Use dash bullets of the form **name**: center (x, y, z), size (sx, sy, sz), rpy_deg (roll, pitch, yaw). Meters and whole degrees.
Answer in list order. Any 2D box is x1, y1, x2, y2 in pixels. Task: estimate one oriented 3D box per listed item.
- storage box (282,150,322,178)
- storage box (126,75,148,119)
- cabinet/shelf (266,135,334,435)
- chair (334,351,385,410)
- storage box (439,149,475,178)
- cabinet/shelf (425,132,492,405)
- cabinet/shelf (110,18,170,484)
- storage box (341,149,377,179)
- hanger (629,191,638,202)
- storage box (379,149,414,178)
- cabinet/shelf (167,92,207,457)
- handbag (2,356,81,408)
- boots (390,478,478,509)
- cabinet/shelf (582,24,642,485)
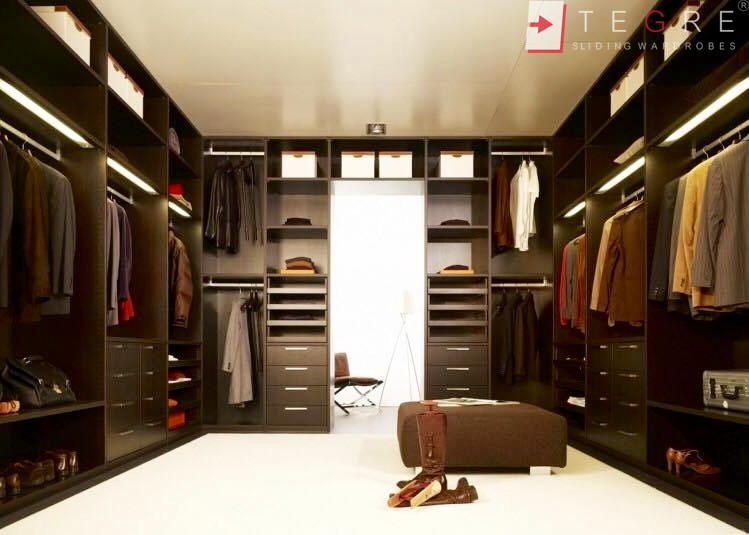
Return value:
- **storage box**: center (-0.846, -1.167, 6.910), size (0.310, 0.208, 0.323), rpy_deg (0, 1, 3)
- **storage box**: center (-2.170, -1.517, 5.452), size (0.114, 0.350, 0.572), rpy_deg (0, -2, -15)
- **cabinet/shelf**: center (-0.862, 0.171, 6.884), size (0.747, 3.251, 0.922), rpy_deg (0, -2, -7)
- **chair**: center (-0.256, 1.520, 7.925), size (0.573, 0.707, 0.737), rpy_deg (7, -12, -40)
- **storage box**: center (0.957, -1.168, 6.805), size (0.301, 0.251, 0.316), rpy_deg (1, -1, 0)
- **cabinet/shelf**: center (0.972, -0.015, 6.824), size (0.750, 2.887, 0.897), rpy_deg (0, -2, 11)
- **cabinet/shelf**: center (-2.081, -0.046, 5.376), size (0.425, 3.296, 1.055), rpy_deg (0, -2, -18)
- **storage box**: center (-0.177, -1.163, 6.839), size (0.435, 0.343, 0.267), rpy_deg (0, -3, 0)
- **hanger**: center (2.466, -0.659, 5.610), size (0.029, 0.126, 0.130), rpy_deg (11, 11, 34)
- **storage box**: center (0.259, -1.164, 6.821), size (0.453, 0.359, 0.255), rpy_deg (1, 3, 2)
- **cabinet/shelf**: center (-2.002, 0.038, 6.365), size (0.371, 3.402, 0.849), rpy_deg (0, -2, -17)
- **handbag**: center (-2.383, 0.830, 4.249), size (0.307, 0.304, 0.483), rpy_deg (-4, -12, 13)
- **boots**: center (0.410, 1.537, 4.044), size (0.411, 0.146, 0.253), rpy_deg (2, -15, -5)
- **cabinet/shelf**: center (2.165, -0.167, 5.283), size (0.473, 3.552, 1.244), rpy_deg (0, -2, 12)
